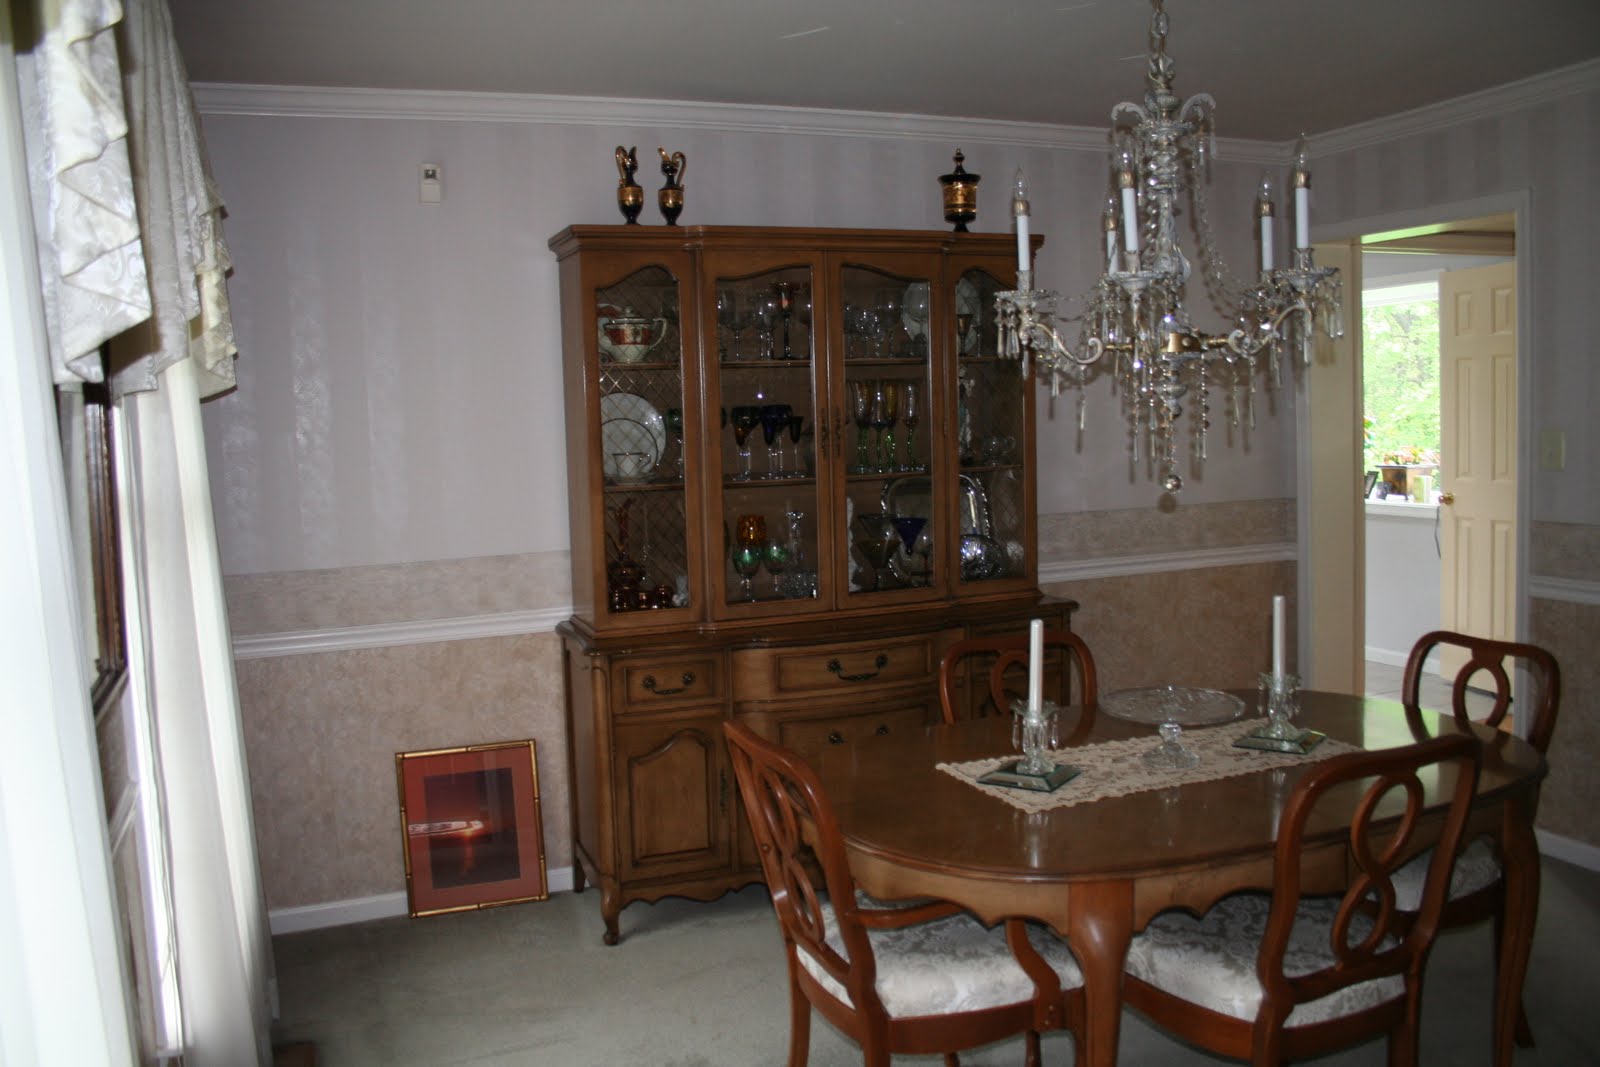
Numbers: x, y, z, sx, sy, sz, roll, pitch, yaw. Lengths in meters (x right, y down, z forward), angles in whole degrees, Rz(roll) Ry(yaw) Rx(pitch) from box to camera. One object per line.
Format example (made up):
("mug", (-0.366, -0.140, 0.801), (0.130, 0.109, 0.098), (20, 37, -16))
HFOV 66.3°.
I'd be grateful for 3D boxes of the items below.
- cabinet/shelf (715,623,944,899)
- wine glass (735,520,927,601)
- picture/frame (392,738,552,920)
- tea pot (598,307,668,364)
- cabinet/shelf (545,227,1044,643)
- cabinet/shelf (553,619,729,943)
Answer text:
("cabinet/shelf", (0.259, 0.817, 4.858), (0.731, 0.706, 0.249), (-9, -5, -30))
("wine glass", (0.224, 0.098, 5.055), (0.704, 0.303, 0.174), (2, -7, -18))
("picture/frame", (-1.328, 1.180, 4.858), (0.644, 0.801, 0.077), (-3, -1, -19))
("tea pot", (-0.630, -0.751, 4.620), (0.224, 0.167, 0.186), (1, 8, 3))
("cabinet/shelf", (0.046, -0.429, 5.015), (1.868, 1.584, 0.524), (-3, 4, -17))
("cabinet/shelf", (-0.595, 0.904, 4.784), (0.564, 1.118, 0.647), (-6, 13, -19))
